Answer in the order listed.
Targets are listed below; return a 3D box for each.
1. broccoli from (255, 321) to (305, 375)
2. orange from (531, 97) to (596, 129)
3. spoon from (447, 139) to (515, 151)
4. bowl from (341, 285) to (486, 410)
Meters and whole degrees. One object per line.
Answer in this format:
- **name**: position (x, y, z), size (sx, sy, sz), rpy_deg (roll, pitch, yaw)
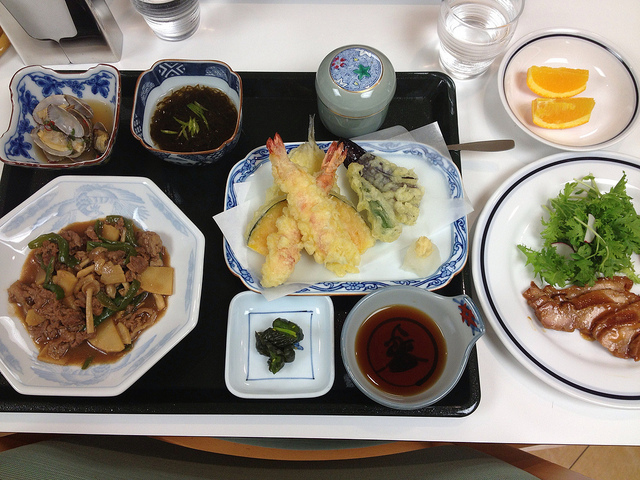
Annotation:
- **broccoli**: position (-0.183, 0.484, 2.230), size (0.194, 0.106, 0.240), rpy_deg (3, 67, -23)
- **orange**: position (1.256, -0.670, 2.523), size (0.282, 0.123, 0.167), rpy_deg (1, 79, 5)
- **spoon**: position (0.833, -0.494, 2.510), size (0.456, 0.064, 0.063), rpy_deg (-1, 98, -5)
- **bowl**: position (0.375, 0.457, 2.106), size (0.570, 0.222, 0.518), rpy_deg (12, 80, 2)
